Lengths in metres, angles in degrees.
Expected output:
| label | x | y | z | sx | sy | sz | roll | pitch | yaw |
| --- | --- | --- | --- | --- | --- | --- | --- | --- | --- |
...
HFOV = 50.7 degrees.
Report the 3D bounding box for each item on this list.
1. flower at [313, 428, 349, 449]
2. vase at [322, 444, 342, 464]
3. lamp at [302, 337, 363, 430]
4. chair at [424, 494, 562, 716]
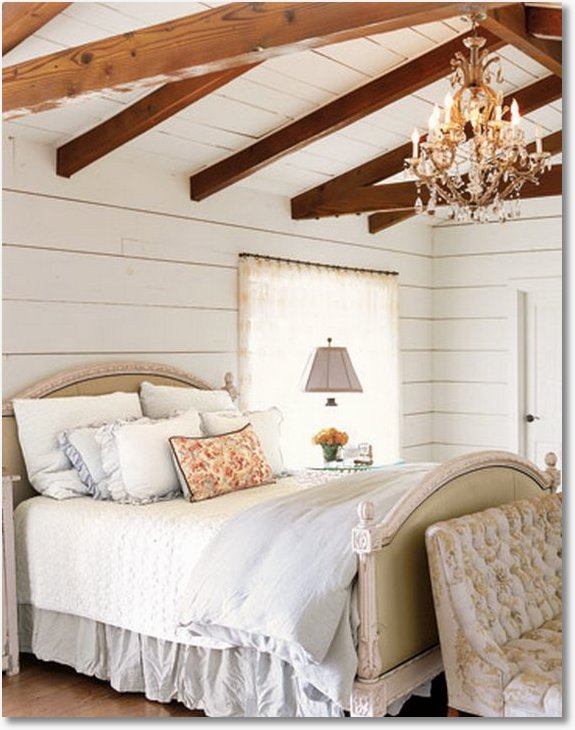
| label | x | y | z | sx | sy | sz | roll | pitch | yaw |
| --- | --- | --- | --- | --- | --- | --- | --- | --- | --- |
| flower | 0.301 | 0.512 | 4.268 | 0.172 | 0.107 | 0.158 | 1 | -4 | 4 |
| vase | 0.306 | 0.617 | 4.229 | 0.130 | 0.125 | 0.132 | 0 | -8 | 4 |
| lamp | 0.304 | 0.055 | 4.338 | 0.465 | 0.552 | 0.457 | -9 | 16 | -24 |
| chair | 0.694 | 0.843 | 2.091 | 0.429 | 0.412 | 0.903 | -4 | -1 | 32 |
